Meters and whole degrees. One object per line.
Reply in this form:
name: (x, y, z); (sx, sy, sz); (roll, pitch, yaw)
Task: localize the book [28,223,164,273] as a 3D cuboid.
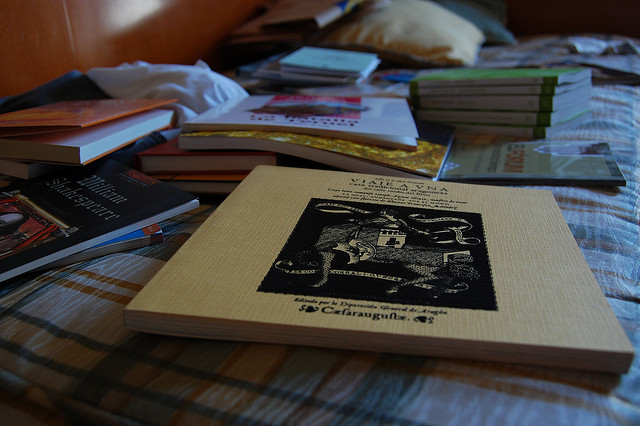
book: (-0.248, 0.045, 0.546); (0.087, 0.072, 0.011); (-10, -86, 23)

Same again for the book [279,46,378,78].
book: (0.014, -0.377, 1.129); (0.236, 0.162, 0.019); (2, -51, 0)
